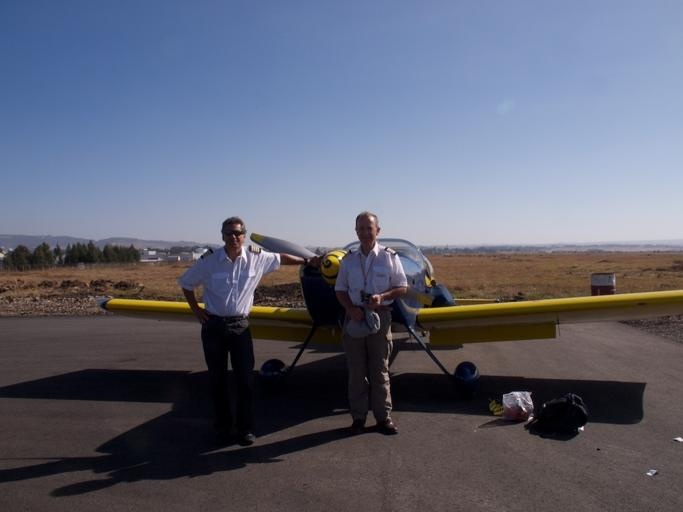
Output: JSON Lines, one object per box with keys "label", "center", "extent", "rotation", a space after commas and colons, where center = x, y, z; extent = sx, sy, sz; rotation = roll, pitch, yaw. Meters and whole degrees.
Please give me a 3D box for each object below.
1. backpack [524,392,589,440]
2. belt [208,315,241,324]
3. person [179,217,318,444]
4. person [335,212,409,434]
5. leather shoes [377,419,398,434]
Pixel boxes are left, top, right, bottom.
{"label": "backpack", "center": [2.313, 1.747, 5.234], "extent": [0.527, 0.248, 0.381], "rotation": [-41, 28, -25]}
{"label": "belt", "center": [-1.164, 0.632, 4.918], "extent": [0.338, 0.089, 0.089], "rotation": [-1, 1, -16]}
{"label": "person", "center": [-1.180, 0.759, 5.053], "extent": [0.910, 2.298, 0.418], "rotation": [-1, 1, -9]}
{"label": "person", "center": [0.318, 0.711, 5.163], "extent": [0.748, 2.323, 0.504], "rotation": [-1, 1, -2]}
{"label": "leather shoes", "center": [0.478, 1.814, 5.201], "extent": [0.276, 0.113, 0.100], "rotation": [-13, -4, 38]}
